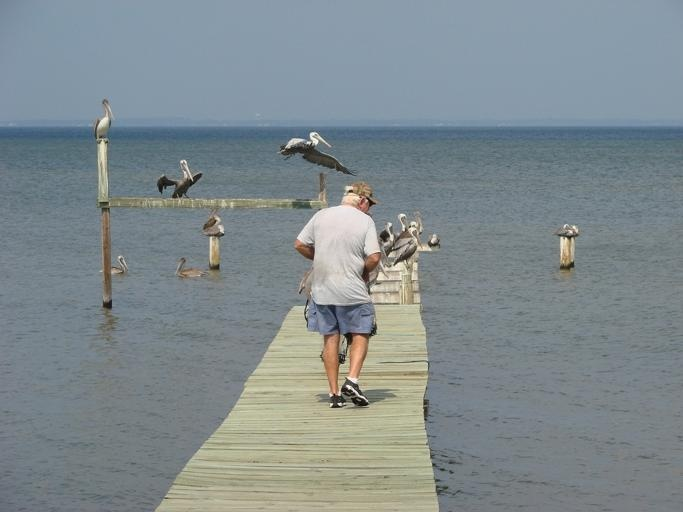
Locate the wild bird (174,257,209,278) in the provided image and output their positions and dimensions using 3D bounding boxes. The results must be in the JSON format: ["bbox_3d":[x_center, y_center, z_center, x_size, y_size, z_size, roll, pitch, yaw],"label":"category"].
[{"bbox_3d":[-5.870,0.507,51.737,1.726,0.912,0.555,1,-3,12],"label":"wild bird"}]

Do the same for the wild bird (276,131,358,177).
[{"bbox_3d":[-1.065,-3.272,41.183,1.728,0.573,2.050,-7,-18,8],"label":"wild bird"}]

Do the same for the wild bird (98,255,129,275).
[{"bbox_3d":[-8.357,0.456,52.510,0.793,0.466,0.891,5,47,7],"label":"wild bird"}]
